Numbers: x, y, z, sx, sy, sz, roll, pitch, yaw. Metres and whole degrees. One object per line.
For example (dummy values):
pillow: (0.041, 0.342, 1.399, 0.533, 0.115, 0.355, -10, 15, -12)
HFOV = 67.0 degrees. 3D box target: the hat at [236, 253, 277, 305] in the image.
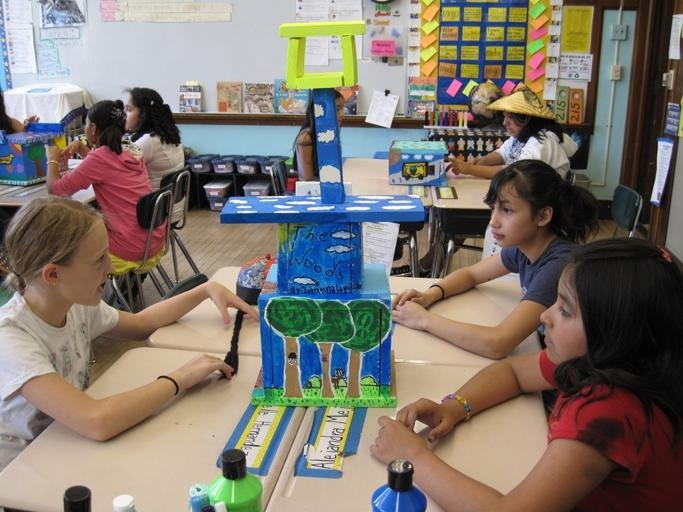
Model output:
hat: (-0.316, 0.074, 1.856, 0.139, 0.072, 0.198, 11, 34, 2)

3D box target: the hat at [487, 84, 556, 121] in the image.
hat: (1.194, -1.002, 3.424, 0.431, 0.194, 0.295, -5, 20, -10)

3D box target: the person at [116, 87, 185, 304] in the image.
person: (-1.591, -0.753, 4.202, 0.614, 1.143, 0.467, 14, 27, 2)

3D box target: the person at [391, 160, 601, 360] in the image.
person: (0.585, 0.032, 1.908, 0.708, 0.753, 0.554, -8, 20, -6)

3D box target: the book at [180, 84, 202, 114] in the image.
book: (-1.748, -1.831, 5.981, 0.284, 0.410, 0.215, 1, 9, 2)

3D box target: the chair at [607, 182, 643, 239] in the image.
chair: (1.706, -0.253, 3.086, 0.159, 0.349, 0.424, 9, 23, 28)

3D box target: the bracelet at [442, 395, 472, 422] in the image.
bracelet: (0.305, 0.386, 1.323, 0.054, 0.072, 0.029, 3, -13, -15)
